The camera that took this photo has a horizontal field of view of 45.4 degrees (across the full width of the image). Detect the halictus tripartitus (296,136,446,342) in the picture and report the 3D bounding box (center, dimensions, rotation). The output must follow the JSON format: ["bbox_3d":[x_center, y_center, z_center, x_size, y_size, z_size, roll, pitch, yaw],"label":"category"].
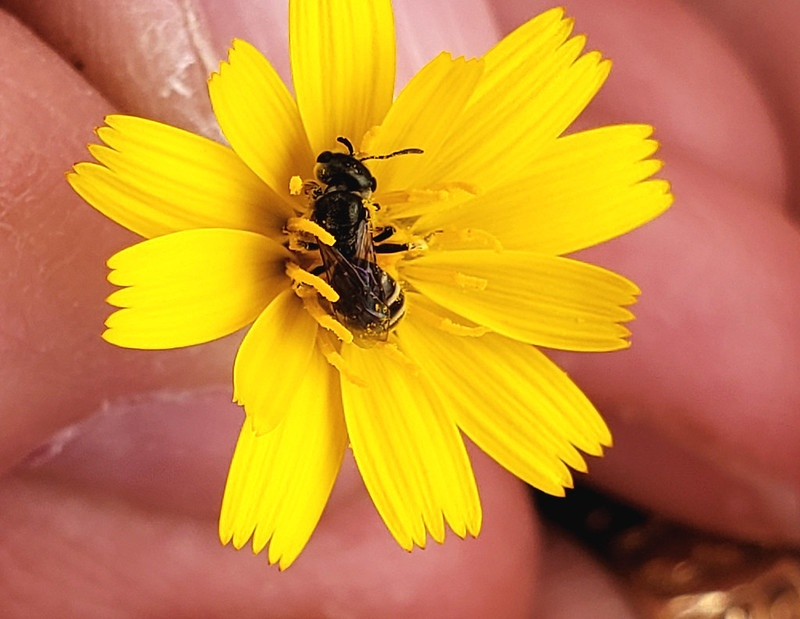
[{"bbox_3d":[-0.054,-0.088,1.160,0.191,0.228,0.074,-12,15,-3],"label":"halictus tripartitus"}]
